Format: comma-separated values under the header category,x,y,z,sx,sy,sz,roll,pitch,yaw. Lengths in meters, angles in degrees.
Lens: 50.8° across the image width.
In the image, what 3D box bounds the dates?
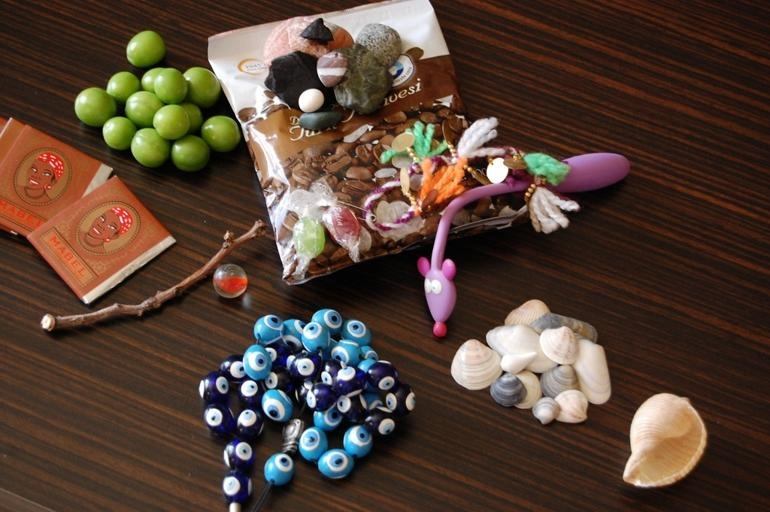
category,x,y,z,sx,sy,sz,roll,pitch,yaw
dates,-0.500,-0.322,1.791,0.347,0.118,0.321,-2,81,-11

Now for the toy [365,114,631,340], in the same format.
category,x,y,z,sx,sy,sz,roll,pitch,yaw
toy,0.255,-0.145,1.752,0.605,0.247,0.316,-35,66,-15
